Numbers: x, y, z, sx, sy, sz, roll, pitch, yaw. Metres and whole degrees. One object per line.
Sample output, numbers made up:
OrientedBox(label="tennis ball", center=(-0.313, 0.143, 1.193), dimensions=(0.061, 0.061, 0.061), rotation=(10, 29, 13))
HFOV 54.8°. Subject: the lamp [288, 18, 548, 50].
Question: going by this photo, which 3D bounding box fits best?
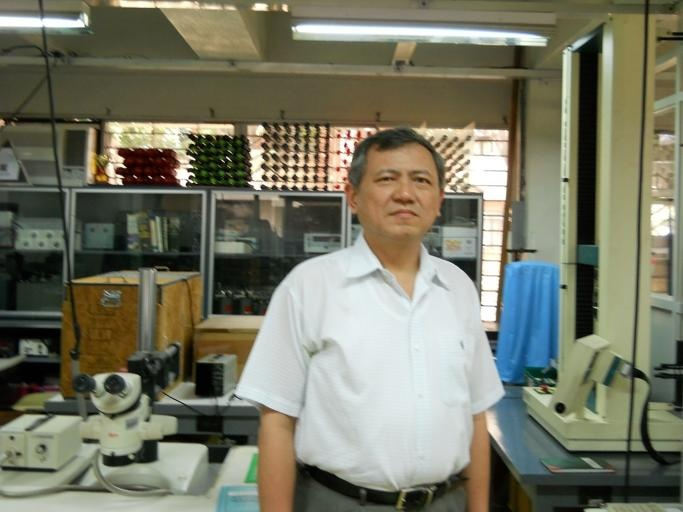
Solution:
OrientedBox(label="lamp", center=(0.425, -1.172, 3.490), dimensions=(1.350, 0.084, 0.245), rotation=(-1, 1, -3))
